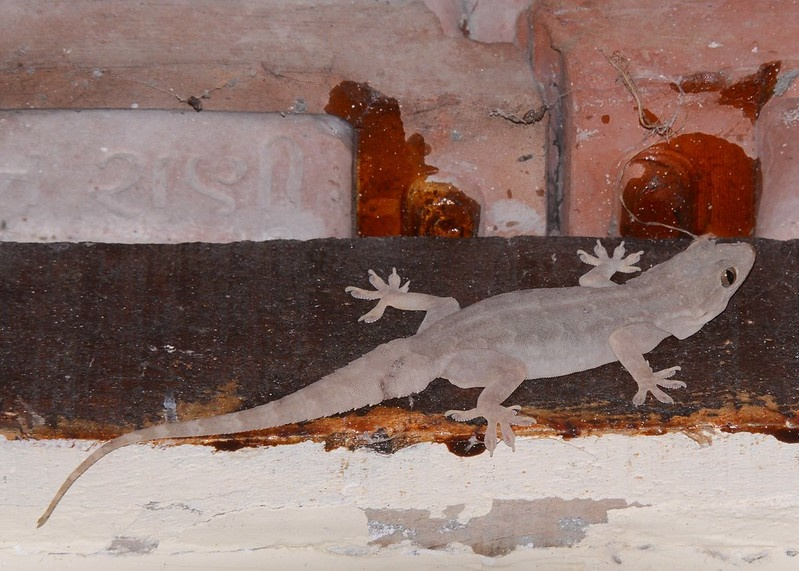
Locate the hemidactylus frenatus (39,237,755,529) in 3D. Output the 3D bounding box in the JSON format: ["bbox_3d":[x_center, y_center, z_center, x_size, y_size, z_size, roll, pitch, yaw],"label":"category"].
[{"bbox_3d":[0.728,0.640,13.414,5.014,0.670,1.422,-9,54,-1],"label":"hemidactylus frenatus"}]
